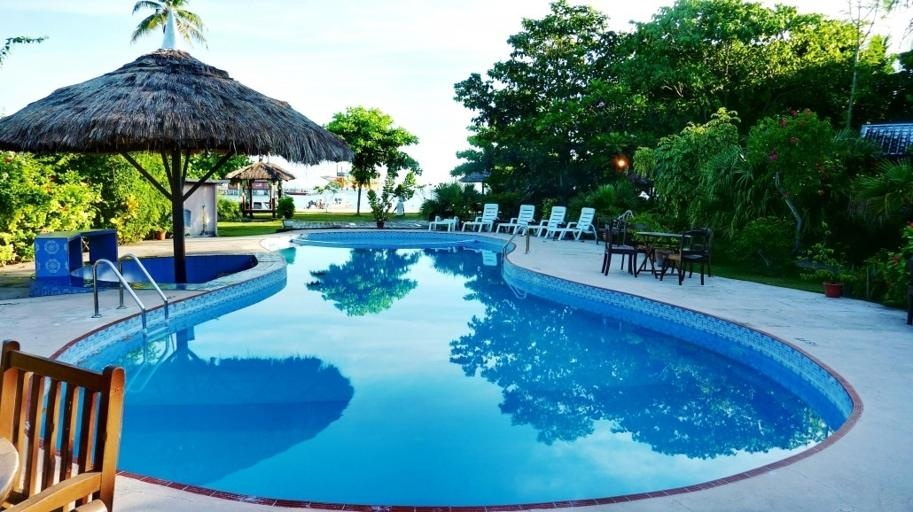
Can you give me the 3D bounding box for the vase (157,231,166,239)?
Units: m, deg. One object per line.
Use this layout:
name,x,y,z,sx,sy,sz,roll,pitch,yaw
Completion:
vase,-10.342,-0.759,21.639,0.270,0.193,0.261,1,-2,1

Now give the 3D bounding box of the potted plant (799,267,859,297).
potted plant,8.770,0.589,14.217,0.757,0.405,1.010,0,-4,3
